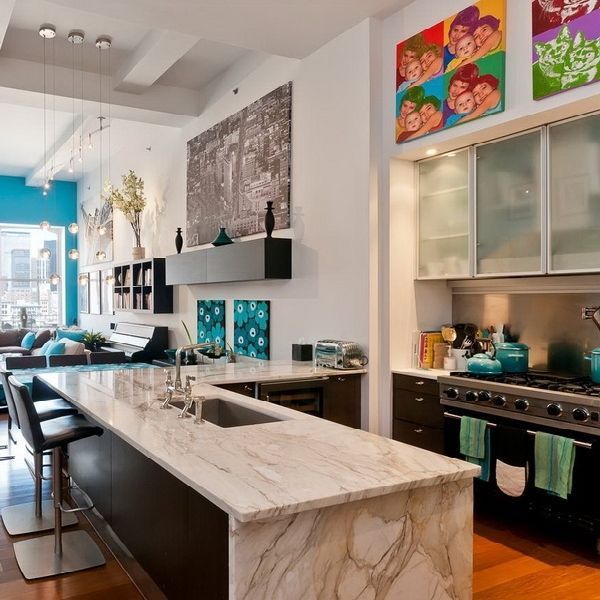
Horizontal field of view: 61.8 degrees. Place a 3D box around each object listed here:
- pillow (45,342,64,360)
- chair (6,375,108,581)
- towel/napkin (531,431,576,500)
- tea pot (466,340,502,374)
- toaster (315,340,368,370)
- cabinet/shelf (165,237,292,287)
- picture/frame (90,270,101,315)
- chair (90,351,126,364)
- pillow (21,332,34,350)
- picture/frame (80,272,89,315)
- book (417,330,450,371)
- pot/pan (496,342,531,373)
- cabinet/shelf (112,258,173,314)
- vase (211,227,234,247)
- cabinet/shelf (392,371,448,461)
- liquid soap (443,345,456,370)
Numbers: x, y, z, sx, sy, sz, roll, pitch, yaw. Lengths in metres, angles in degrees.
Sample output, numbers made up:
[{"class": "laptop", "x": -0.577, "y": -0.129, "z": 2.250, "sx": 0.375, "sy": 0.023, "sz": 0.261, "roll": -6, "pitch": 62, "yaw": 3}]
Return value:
[{"class": "pillow", "x": -3.564, "y": 0.736, "z": 7.279, "sx": 0.218, "sy": 0.142, "sz": 0.350, "roll": -11, "pitch": 10, "yaw": -25}, {"class": "chair", "x": -1.457, "y": 0.960, "z": 2.975, "sx": 0.490, "sy": 1.053, "sz": 0.809, "roll": 1, "pitch": -1, "yaw": -32}, {"class": "towel/napkin", "x": 1.433, "y": 0.924, "z": 2.835, "sx": 0.130, "sy": 0.336, "sz": 0.262, "roll": 1, "pitch": -1, "yaw": -36}, {"class": "tea pot", "x": 1.324, "y": 0.406, "z": 3.594, "sx": 0.166, "sy": 0.242, "sz": 0.252, "roll": 1, "pitch": -9, "yaw": -9}, {"class": "toaster", "x": 0.317, "y": 0.444, "z": 4.121, "sx": 0.180, "sy": 0.207, "sz": 0.386, "roll": 2, "pitch": -3, "yaw": -32}, {"class": "cabinet/shelf", "x": -0.850, "y": -0.389, "z": 5.584, "sx": 0.338, "sy": 0.430, "sz": 2.152, "roll": 1, "pitch": -2, "yaw": -38}, {"class": "picture/frame", "x": -4.422, "y": -0.152, "z": 10.847, "sx": 0.114, "sy": 1.363, "sz": 0.858, "roll": 0, "pitch": 0, "yaw": -26}, {"class": "chair", "x": -2.333, "y": 0.707, "z": 6.106, "sx": 0.126, "sy": 0.152, "sz": 0.518, "roll": 0, "pitch": -2, "yaw": 32}, {"class": "pillow", "x": -5.662, "y": 0.863, "z": 10.396, "sx": 0.105, "sy": 0.216, "sz": 0.276, "roll": 34, "pitch": -20, "yaw": -29}, {"class": "picture/frame", "x": -4.600, "y": -0.118, "z": 10.700, "sx": 0.065, "sy": 1.106, "sz": 0.805, "roll": 3, "pitch": -5, "yaw": -34}, {"class": "book", "x": 1.061, "y": 0.411, "z": 4.090, "sx": 0.264, "sy": 0.439, "sz": 0.226, "roll": 1, "pitch": -6, "yaw": -15}, {"class": "pot/pan", "x": 1.528, "y": 0.404, "z": 3.578, "sx": 0.170, "sy": 0.188, "sz": 0.192, "roll": 0, "pitch": -4, "yaw": -7}, {"class": "cabinet/shelf", "x": -2.612, "y": -0.204, "z": 8.229, "sx": 0.286, "sy": 0.853, "sz": 2.121, "roll": 1, "pitch": -2, "yaw": -36}, {"class": "vase", "x": -0.834, "y": -0.650, "z": 5.473, "sx": 0.184, "sy": 0.199, "sz": 0.207, "roll": 0, "pitch": -3, "yaw": -2}, {"class": "cabinet/shelf", "x": 0.891, "y": 0.848, "z": 3.784, "sx": 0.385, "sy": 0.712, "sz": 0.427, "roll": 4, "pitch": -6, "yaw": -32}, {"class": "liquid soap", "x": 1.178, "y": 0.453, "z": 3.931, "sx": 0.088, "sy": 0.185, "sz": 0.142, "roll": 0, "pitch": -1, "yaw": 12}]
